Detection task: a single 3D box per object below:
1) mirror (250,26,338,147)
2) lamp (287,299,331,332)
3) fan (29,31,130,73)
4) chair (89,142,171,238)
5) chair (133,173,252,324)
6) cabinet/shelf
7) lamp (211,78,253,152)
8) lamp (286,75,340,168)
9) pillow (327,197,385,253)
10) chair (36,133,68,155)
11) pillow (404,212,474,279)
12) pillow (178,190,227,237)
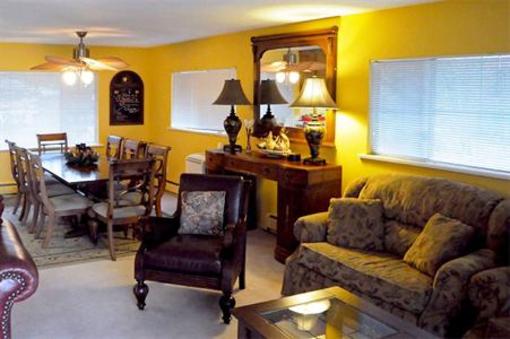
[{"bbox_3d":[0.597,-1.182,5.267,0.145,1.904,1.874,-8,10,-44],"label":"mirror"},{"bbox_3d":[0.383,1.124,2.871,0.362,0.156,0.352,1,-9,15],"label":"lamp"},{"bbox_3d":[-2.803,-1.882,5.895,1.065,0.678,1.954,-8,12,-33],"label":"fan"},{"bbox_3d":[-1.861,0.377,5.438,1.093,1.535,1.161,-9,21,-37],"label":"chair"},{"bbox_3d":[-0.627,0.770,4.036,1.071,1.315,0.881,1,11,12],"label":"chair"},{"bbox_3d":[0.247,0.443,4.566,0.584,0.866,1.494,-3,7,-35],"label":"cabinet/shelf"},{"bbox_3d":[-0.327,-0.842,5.841,0.583,1.084,0.706,-1,11,0],"label":"lamp"},{"bbox_3d":[0.775,-0.649,4.915,0.607,1.125,0.473,1,11,9],"label":"lamp"},{"bbox_3d":[1.103,0.614,4.044,0.563,0.482,0.207,3,-20,10],"label":"pillow"},{"bbox_3d":[-3.859,-0.484,7.179,0.539,0.390,0.318,-5,11,-32],"label":"chair"},{"bbox_3d":[1.745,0.695,3.544,0.464,0.481,0.403,-3,11,-14],"label":"pillow"},{"bbox_3d":[-0.552,0.478,4.086,0.546,0.454,0.157,2,-12,9],"label":"pillow"}]
